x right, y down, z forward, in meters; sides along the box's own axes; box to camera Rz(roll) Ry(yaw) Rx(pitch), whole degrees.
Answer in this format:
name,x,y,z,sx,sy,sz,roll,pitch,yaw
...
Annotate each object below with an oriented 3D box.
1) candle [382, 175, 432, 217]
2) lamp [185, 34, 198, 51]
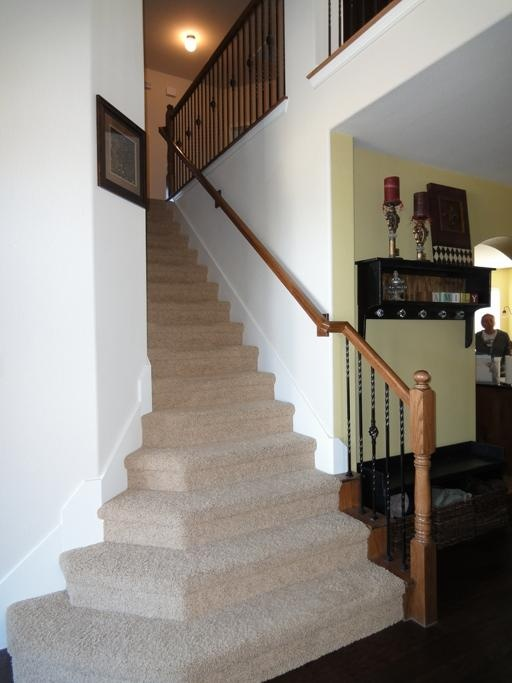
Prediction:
name,x,y,z,sx,sy,sz,roll,pitch,yaw
candle,0.867,-0.815,3.089,0.224,0.236,0.250,1,0,2
lamp,-0.760,-3.459,6.218,0.116,0.176,0.129,-4,16,-14
